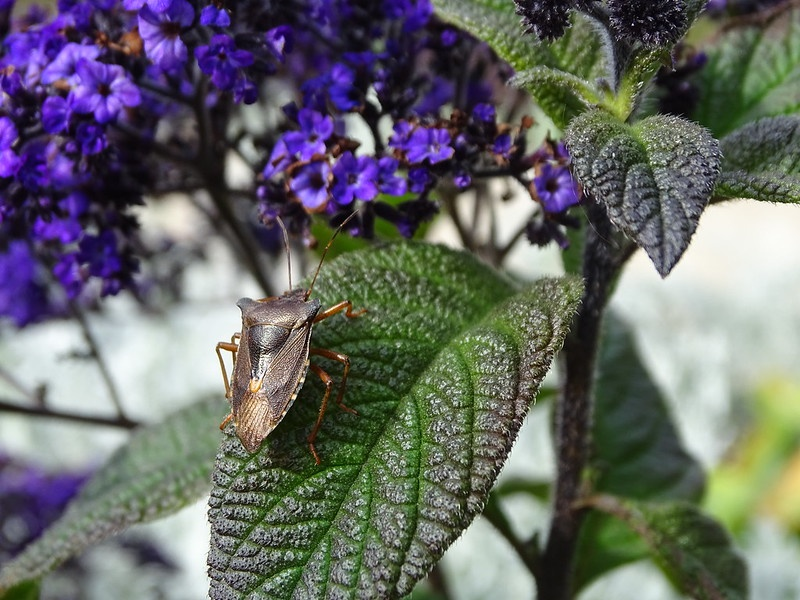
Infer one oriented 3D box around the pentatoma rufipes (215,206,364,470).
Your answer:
[{"bbox_3d":[-0.185,0.086,1.558,0.235,0.251,0.338,7,22,-7],"label":"pentatoma rufipes"}]
